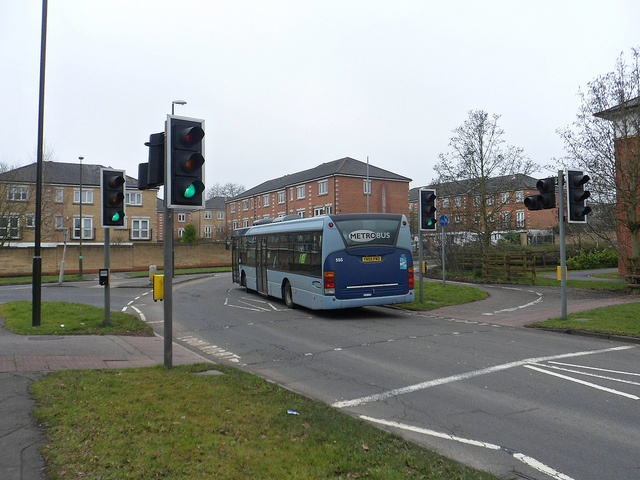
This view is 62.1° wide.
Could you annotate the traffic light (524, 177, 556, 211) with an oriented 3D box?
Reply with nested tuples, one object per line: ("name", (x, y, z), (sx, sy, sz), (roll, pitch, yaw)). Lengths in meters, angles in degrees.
("traffic light", (6.513, -1.328, 15.454), (0.452, 0.968, 0.923), (1, -1, 8))

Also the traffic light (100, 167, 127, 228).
("traffic light", (-5.249, -1.052, 13.544), (0.564, 1.526, 0.446), (-2, 6, -23))

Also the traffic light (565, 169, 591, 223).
("traffic light", (7.372, -1.262, 15.316), (0.648, 1.562, 1.261), (4, 6, 29))

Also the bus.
("bus", (-0.434, 0.649, 21.281), (2.794, 3.124, 9.639), (-1, 1, -26))

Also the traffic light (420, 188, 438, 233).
("traffic light", (3.918, -1.218, 19.301), (0.671, 1.698, 0.568), (2, 28, 17))

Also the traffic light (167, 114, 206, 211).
("traffic light", (-2.511, -1.462, 9.932), (0.701, 1.775, 0.576), (-1, 6, -17))
